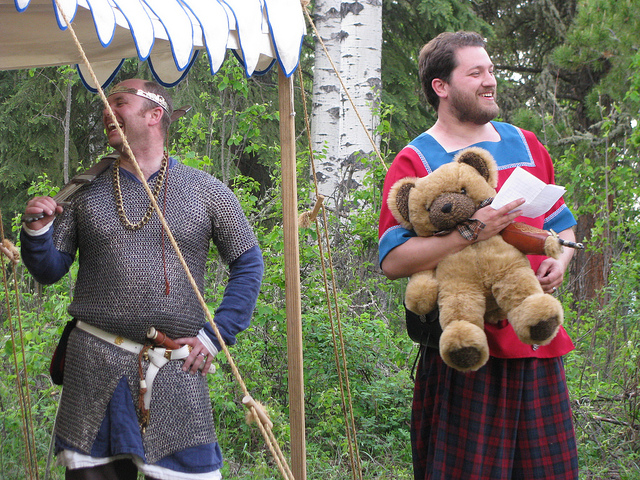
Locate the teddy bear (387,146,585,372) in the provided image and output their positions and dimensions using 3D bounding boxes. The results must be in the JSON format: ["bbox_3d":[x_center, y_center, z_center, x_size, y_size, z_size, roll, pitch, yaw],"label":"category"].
[{"bbox_3d":[0.707,0.065,3.290,0.664,1.005,0.890,-15,1,-10],"label":"teddy bear"}]

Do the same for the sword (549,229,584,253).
[{"bbox_3d":[1.149,0.024,3.217,0.134,0.110,0.413,8,10,17],"label":"sword"}]

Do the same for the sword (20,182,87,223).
[{"bbox_3d":[-1.332,-0.210,3.500,0.126,0.045,0.488,9,22,18],"label":"sword"}]

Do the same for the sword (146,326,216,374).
[{"bbox_3d":[-0.724,0.558,3.484,0.369,0.085,0.078,37,-35,-15],"label":"sword"}]

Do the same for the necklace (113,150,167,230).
[{"bbox_3d":[-0.940,-0.242,3.635,0.207,0.403,0.076,10,-16,-9],"label":"necklace"}]
